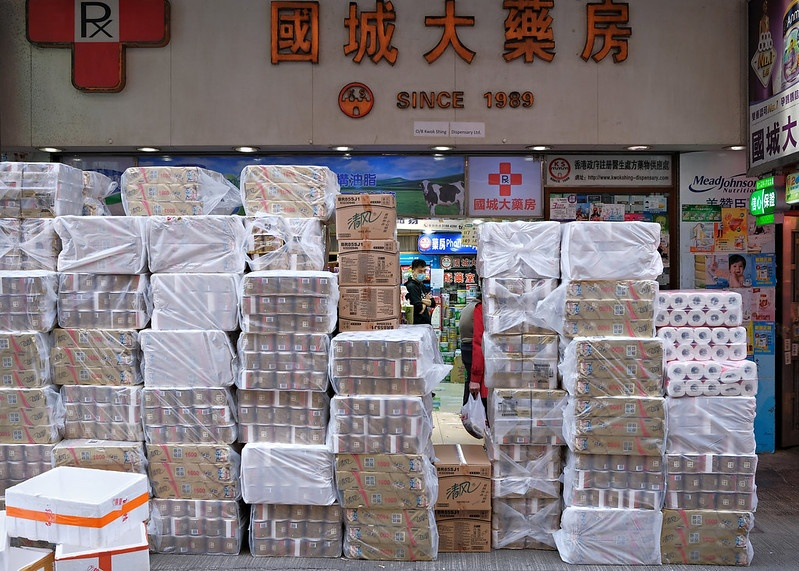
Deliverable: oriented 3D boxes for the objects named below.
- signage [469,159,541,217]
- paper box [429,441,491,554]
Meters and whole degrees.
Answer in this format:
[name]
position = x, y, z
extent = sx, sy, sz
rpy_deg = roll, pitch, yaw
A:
[signage]
position = 1.105, -1.103, 12.649
extent = 0.564, 0.462, 0.079
rpy_deg = 1, 1, -4
[paper box]
position = 0.584, 1.952, 10.528
extent = 0.630, 1.179, 0.796
rpy_deg = 1, -9, 0
